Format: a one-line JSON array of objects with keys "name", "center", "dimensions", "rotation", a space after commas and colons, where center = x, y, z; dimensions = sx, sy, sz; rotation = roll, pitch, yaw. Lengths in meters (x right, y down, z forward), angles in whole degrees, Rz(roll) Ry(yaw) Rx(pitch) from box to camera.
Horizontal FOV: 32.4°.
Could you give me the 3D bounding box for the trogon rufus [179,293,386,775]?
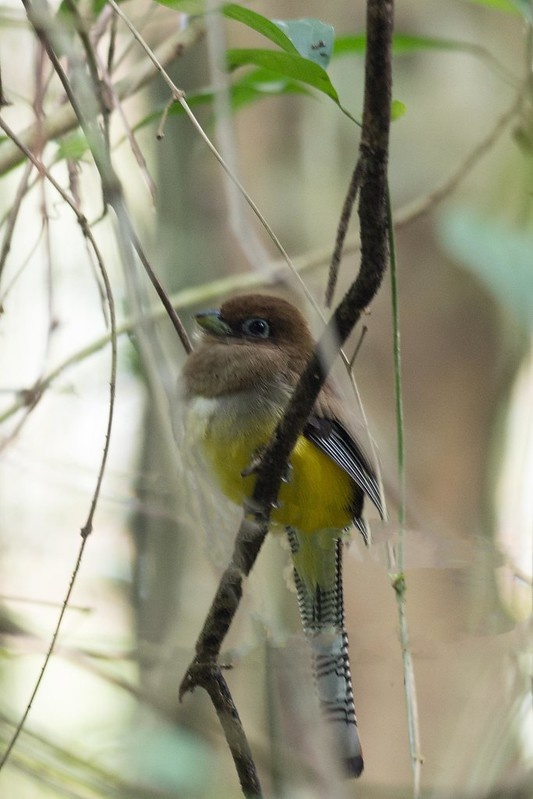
[{"name": "trogon rufus", "center": [0.050, 0.200, 1.458], "dimensions": [0.325, 0.718, 0.268], "rotation": [4, 12, 31]}]
